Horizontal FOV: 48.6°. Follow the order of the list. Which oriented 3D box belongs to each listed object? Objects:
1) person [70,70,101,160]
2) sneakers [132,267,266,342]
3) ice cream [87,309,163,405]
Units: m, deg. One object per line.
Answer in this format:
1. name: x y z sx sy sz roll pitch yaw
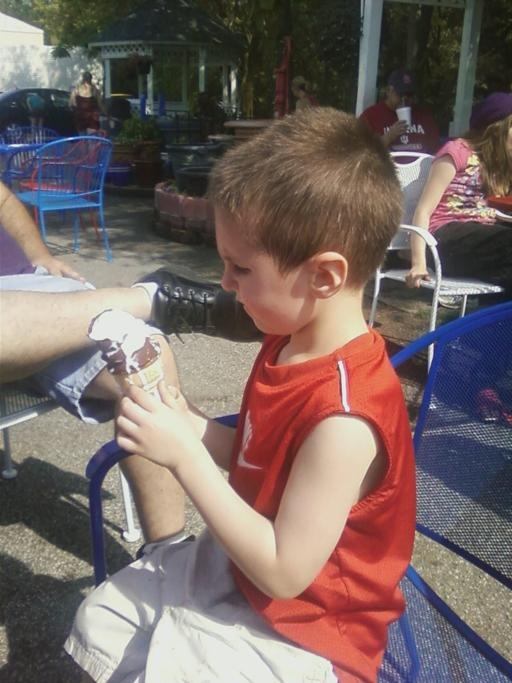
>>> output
1. person: -3.494 -4.638 11.595 0.605 1.797 0.559 -6 34 -20
2. sneakers: -0.151 -0.111 1.766 0.441 0.182 0.176 18 26 35
3. ice cream: -0.207 0.013 0.902 0.112 0.135 0.098 -4 15 -25
